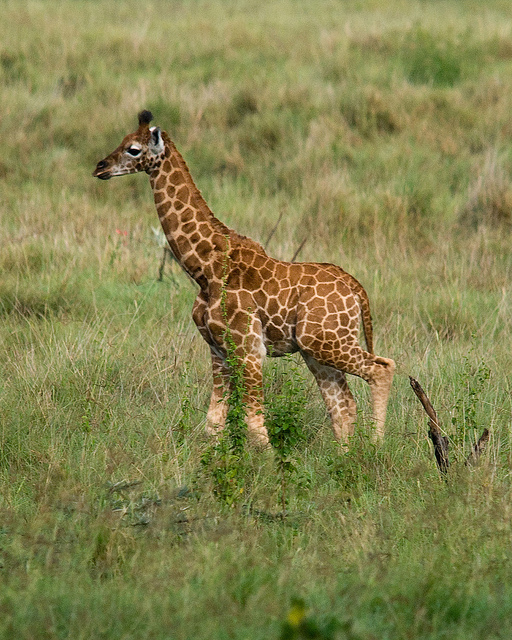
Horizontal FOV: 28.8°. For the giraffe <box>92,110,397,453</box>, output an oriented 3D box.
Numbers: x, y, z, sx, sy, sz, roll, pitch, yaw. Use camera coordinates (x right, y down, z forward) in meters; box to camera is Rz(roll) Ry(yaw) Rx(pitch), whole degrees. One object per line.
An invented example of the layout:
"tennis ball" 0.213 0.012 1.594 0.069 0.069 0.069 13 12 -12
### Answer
"giraffe" -0.012 -0.247 5.539 1.436 2.150 0.595 -4 30 0
